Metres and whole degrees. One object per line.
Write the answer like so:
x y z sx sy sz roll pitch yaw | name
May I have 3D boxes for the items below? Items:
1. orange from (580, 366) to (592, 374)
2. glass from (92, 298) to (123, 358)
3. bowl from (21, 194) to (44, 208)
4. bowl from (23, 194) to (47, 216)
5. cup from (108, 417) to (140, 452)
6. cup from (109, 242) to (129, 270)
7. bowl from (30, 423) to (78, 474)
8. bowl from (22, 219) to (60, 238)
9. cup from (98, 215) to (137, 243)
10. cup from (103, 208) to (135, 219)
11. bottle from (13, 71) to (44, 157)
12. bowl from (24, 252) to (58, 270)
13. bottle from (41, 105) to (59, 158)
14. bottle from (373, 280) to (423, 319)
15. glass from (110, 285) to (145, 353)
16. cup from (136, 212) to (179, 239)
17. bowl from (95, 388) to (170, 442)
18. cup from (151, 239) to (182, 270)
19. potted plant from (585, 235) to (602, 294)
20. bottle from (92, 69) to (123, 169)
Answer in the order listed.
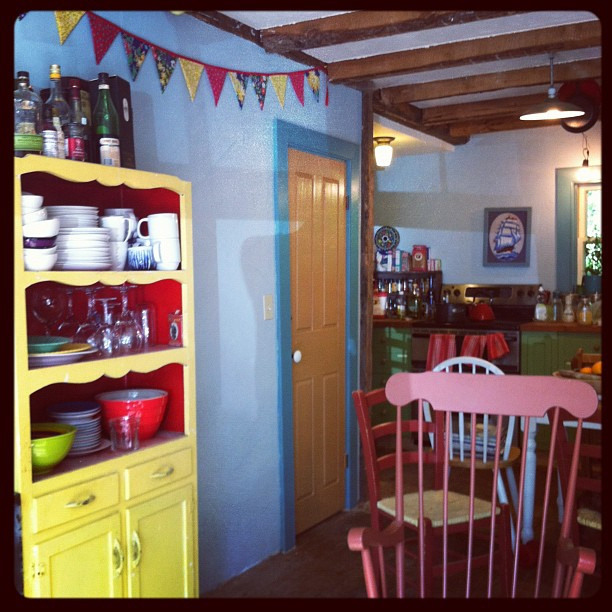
0.800 0.178 1.592 0.019 0.022 0.021 1 6 10 | orange
-0.451 0.049 1.262 0.059 0.161 0.067 6 -24 -37 | glass
-0.534 -0.206 1.087 0.028 0.017 0.030 2 9 0 | bowl
-0.541 -0.199 1.117 0.038 0.031 0.042 -1 -4 5 | bowl
-0.402 0.282 1.246 0.057 0.070 0.064 0 -1 -3 | cup
-0.416 -0.115 1.247 0.040 0.061 0.023 -4 6 -33 | cup
-0.507 0.281 1.120 0.077 0.055 0.086 0 -5 2 | bowl
-0.513 -0.154 1.098 0.029 0.036 0.085 2 7 27 | bowl
-0.427 -0.178 1.272 0.080 0.063 0.049 -2 6 -16 | cup
-0.429 -0.218 1.282 0.038 0.034 0.033 5 5 18 | cup
-0.531 -0.367 1.063 0.052 0.166 0.046 -4 6 -36 | bottle
-0.511 -0.090 1.092 0.027 0.034 0.088 0 6 10 | bowl
-0.505 -0.344 1.095 0.029 0.114 0.080 -3 6 -23 | bottle
0.457 -0.049 3.026 0.211 0.238 0.073 7 10 34 | bottle
-0.419 0.032 1.303 0.079 0.209 0.082 -1 3 -23 | glass
-0.345 -0.190 1.313 0.074 0.064 0.052 -2 0 -8 | cup
-0.407 0.236 1.311 0.109 0.086 0.121 -1 -2 -1 | bowl
-0.327 -0.125 1.310 0.042 0.076 0.074 3 10 19 | cup
0.683 -0.096 1.318 0.042 0.144 0.042 0 -1 4 | potted plant
-0.443 -0.411 1.232 0.055 0.209 0.047 -2 5 -19 | bottle
